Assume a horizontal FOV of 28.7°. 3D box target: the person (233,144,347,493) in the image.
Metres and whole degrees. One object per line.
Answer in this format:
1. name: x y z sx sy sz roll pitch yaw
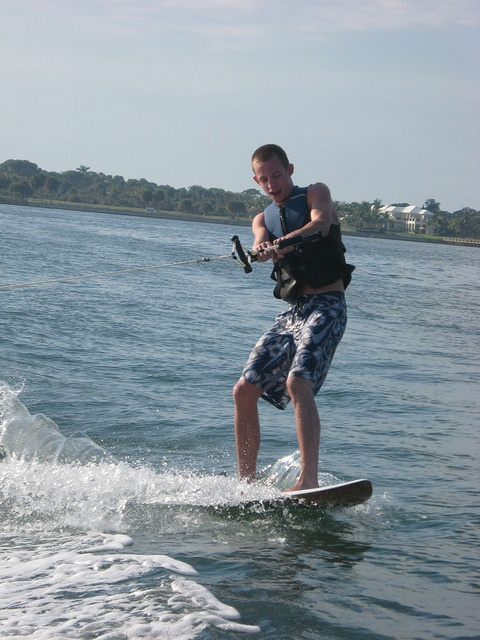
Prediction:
1. person: 0.271 0.017 4.897 0.581 1.826 0.832 6 7 6
